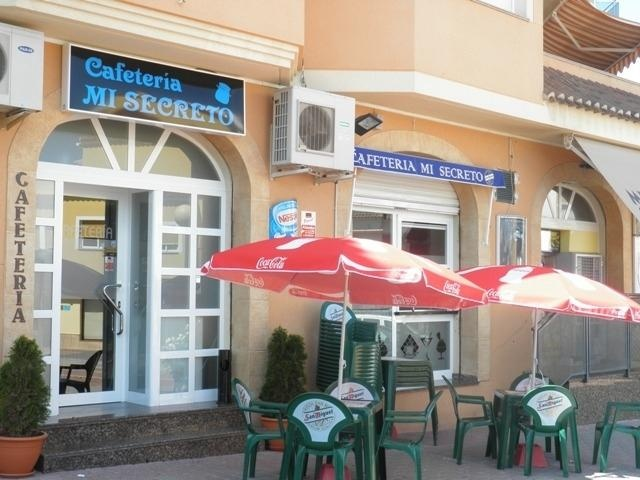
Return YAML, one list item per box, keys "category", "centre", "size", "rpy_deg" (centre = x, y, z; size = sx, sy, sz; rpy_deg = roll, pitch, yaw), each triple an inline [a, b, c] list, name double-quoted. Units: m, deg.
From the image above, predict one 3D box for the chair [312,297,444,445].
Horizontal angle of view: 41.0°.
- category: "chair"
  centre: [0.766, 1.772, 12.067]
  size: [1.538, 2.225, 1.550]
  rpy_deg: [0, 2, 30]

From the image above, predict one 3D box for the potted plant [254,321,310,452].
- category: "potted plant"
  centre: [-0.512, 2.026, 11.994]
  size: [0.621, 1.657, 0.587]
  rpy_deg: [1, 1, -12]

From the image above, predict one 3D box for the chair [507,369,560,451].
- category: "chair"
  centre: [3.106, 2.501, 12.444]
  size: [0.734, 1.254, 0.757]
  rpy_deg: [-1, -5, 14]

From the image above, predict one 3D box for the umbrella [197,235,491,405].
- category: "umbrella"
  centre: [0.240, 0.760, 9.753]
  size: [2.935, 1.677, 1.842]
  rpy_deg: [2, -6, -9]

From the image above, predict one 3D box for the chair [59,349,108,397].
- category: "chair"
  centre: [-3.348, 1.829, 12.045]
  size: [0.588, 0.590, 0.548]
  rpy_deg: [3, -6, -17]

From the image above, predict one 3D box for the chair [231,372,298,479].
- category: "chair"
  centre: [-0.681, 2.231, 10.485]
  size: [0.817, 1.320, 0.856]
  rpy_deg: [1, -6, -1]

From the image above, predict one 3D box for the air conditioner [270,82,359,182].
- category: "air conditioner"
  centre: [-0.124, -1.530, 12.336]
  size: [1.286, 1.343, 0.539]
  rpy_deg: [5, -7, -38]
